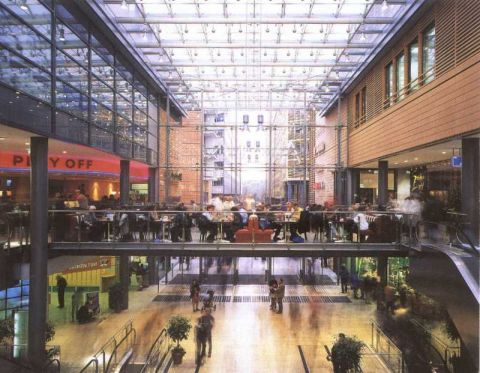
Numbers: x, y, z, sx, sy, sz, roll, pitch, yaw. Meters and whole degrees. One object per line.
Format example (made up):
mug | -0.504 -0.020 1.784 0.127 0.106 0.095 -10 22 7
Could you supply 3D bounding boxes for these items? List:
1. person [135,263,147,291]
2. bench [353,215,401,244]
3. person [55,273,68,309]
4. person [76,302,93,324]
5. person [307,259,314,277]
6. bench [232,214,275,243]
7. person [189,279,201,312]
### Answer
person | -6.134 5.646 26.199 0.627 1.416 0.850 -1 13 -7
bench | 6.260 1.958 18.680 1.524 1.216 1.310 0 2 14
person | -9.967 5.880 23.546 0.511 1.760 1.033 -6 15 -25
person | -8.218 6.785 22.267 0.801 1.172 0.675 7 -3 6
person | 4.517 5.148 26.681 0.412 1.035 0.379 2 13 7
bench | 0.661 1.515 18.616 1.790 1.264 1.048 0 -2 2
person | -2.475 6.044 23.347 0.453 2.012 0.778 -1 13 -5
